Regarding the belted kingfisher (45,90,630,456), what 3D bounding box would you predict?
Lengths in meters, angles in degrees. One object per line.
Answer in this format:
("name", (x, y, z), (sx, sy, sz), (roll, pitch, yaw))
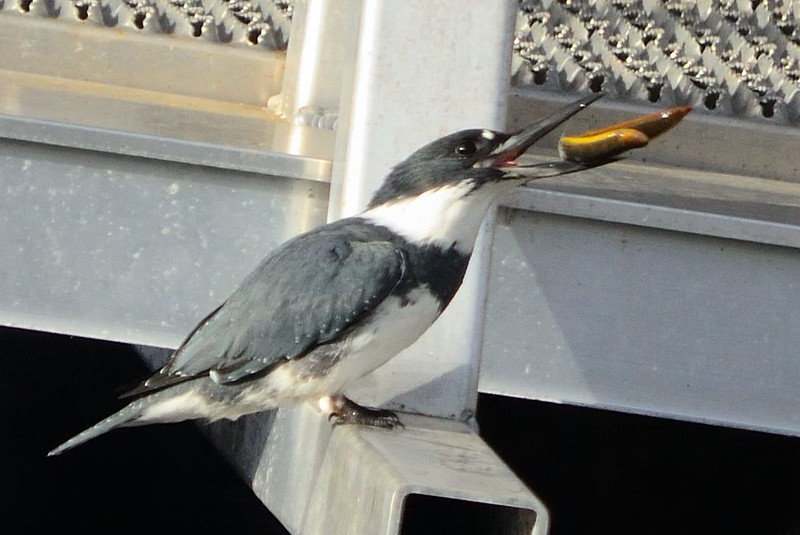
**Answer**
("belted kingfisher", (-0.144, 0.072, 4.182), (1.142, 0.897, 0.364), (-21, 56, -31))
